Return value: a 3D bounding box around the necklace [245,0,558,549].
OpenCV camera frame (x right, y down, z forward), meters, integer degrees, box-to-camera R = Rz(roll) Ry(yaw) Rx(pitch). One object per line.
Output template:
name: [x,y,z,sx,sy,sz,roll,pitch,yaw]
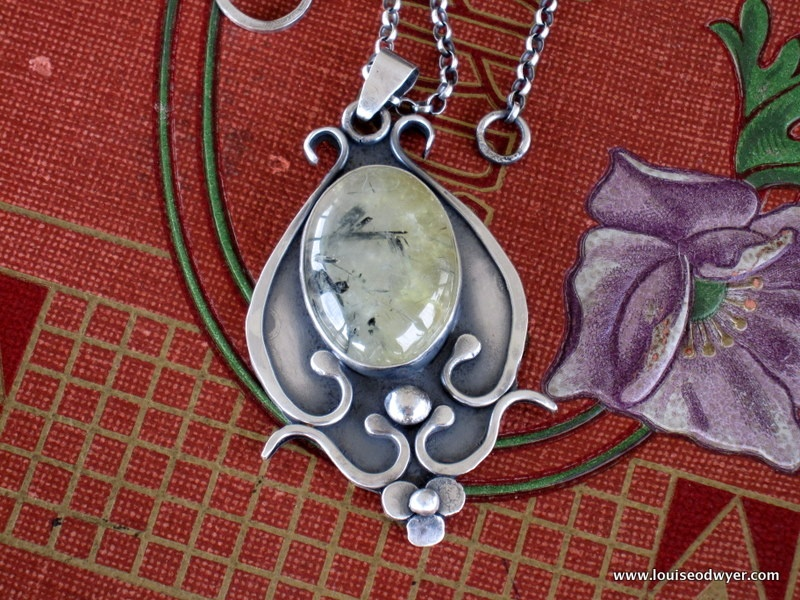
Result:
necklace: [0.050,-0.047,1.899,0.558,0.592,0.617,22,41,-5]
